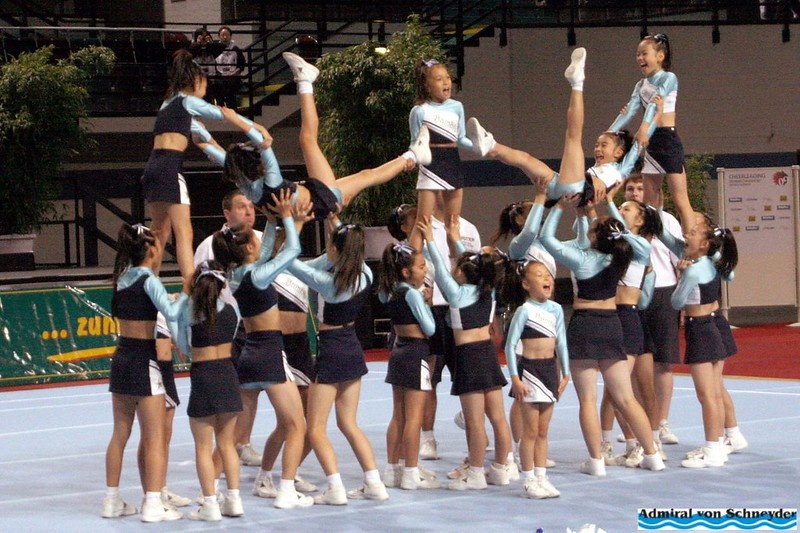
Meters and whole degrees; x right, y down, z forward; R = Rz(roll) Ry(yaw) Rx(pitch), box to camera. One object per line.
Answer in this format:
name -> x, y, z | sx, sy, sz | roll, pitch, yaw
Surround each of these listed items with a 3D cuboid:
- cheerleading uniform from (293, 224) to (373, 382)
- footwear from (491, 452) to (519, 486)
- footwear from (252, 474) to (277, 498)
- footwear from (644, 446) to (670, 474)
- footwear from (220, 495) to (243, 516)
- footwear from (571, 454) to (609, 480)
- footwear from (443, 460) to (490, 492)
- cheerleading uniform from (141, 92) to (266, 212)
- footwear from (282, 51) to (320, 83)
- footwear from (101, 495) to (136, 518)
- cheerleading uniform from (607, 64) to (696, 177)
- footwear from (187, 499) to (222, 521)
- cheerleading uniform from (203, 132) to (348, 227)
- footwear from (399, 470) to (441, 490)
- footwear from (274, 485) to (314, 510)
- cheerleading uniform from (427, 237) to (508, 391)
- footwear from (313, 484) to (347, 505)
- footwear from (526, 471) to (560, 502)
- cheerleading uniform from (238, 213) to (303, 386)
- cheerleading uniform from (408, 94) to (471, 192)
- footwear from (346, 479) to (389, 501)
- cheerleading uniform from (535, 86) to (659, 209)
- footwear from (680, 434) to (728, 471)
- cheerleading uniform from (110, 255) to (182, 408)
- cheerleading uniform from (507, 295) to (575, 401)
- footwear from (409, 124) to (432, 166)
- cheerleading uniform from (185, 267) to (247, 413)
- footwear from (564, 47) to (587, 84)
cheerleading uniform -> -0.588, 0.352, 8.421 | 0.675, 1.440, 0.334 | -2, 3, -3
footwear -> 0.985, 1.961, 8.941 | 0.150, 0.285, 0.434 | -4, 7, -32
footwear -> -1.254, 2.034, 8.657 | 0.218, 0.231, 0.236 | -2, 3, -9
footwear -> 2.476, 1.887, 9.102 | 0.153, 0.189, 0.284 | -2, 7, -18
footwear -> -1.468, 2.113, 8.172 | 0.100, 0.152, 0.317 | -1, 4, -15
footwear -> 1.868, 1.924, 9.004 | 0.143, 0.154, 0.265 | -1, 6, -24
footwear -> 0.637, 1.964, 8.805 | 0.374, 0.231, 0.388 | -2, 3, 3
cheerleading uniform -> -1.927, -1.162, 9.093 | 1.070, 0.997, 0.694 | -5, -6, -7
footwear -> -0.993, -1.995, 9.012 | 0.400, 0.152, 0.260 | 35, -18, 20
footwear -> -2.506, 2.142, 8.267 | 0.138, 0.159, 0.361 | 1, 1, 42
cheerleading uniform -> 2.588, -1.535, 9.823 | 0.709, 0.996, 0.735 | -8, 10, -28
footwear -> -1.653, 2.124, 8.141 | 0.364, 0.195, 0.138 | 2, -1, 26
cheerleading uniform -> -1.172, -0.845, 8.613 | 1.253, 0.824, 0.790 | -2, 3, -5
footwear -> 0.231, 2.008, 8.778 | 0.466, 0.190, 0.149 | 0, 1, -15
footwear -> -0.942, 2.066, 8.304 | 0.317, 0.137, 0.166 | 1, -1, -30
cheerleading uniform -> 0.615, 0.457, 8.789 | 0.728, 1.477, 0.463 | 3, -8, -24
footwear -> -0.634, 2.059, 8.416 | 0.334, 0.152, 0.156 | 2, 1, 33
footwear -> 1.285, 1.997, 8.348 | 0.199, 0.125, 0.282 | 2, -4, -35
cheerleading uniform -> -1.215, 0.368, 8.369 | 0.743, 1.585, 0.422 | 1, 5, 44
cheerleading uniform -> 0.421, -1.218, 9.335 | 0.731, 0.917, 0.536 | -8, 16, -23
footwear -> -0.273, 2.032, 8.503 | 0.407, 0.168, 0.155 | 2, 1, 32
cheerleading uniform -> 2.017, -1.017, 9.119 | 1.369, 1.284, 0.725 | 7, -8, -26
footwear -> 2.985, 1.855, 9.129 | 0.432, 0.163, 0.237 | -2, -1, -5
cheerleading uniform -> -2.176, 0.637, 8.233 | 0.731, 1.293, 0.400 | -1, 3, 15
cheerleading uniform -> 1.291, 0.786, 8.733 | 0.586, 0.948, 0.646 | -1, 3, 8
footwear -> 0.234, -1.168, 9.184 | 0.202, 0.448, 0.144 | 27, -35, -30
cheerleading uniform -> -1.630, 0.668, 8.142 | 0.474, 1.308, 0.301 | -3, 3, -22
footwear -> 1.731, -1.891, 9.127 | 0.188, 0.335, 0.116 | 4, 1, 45
